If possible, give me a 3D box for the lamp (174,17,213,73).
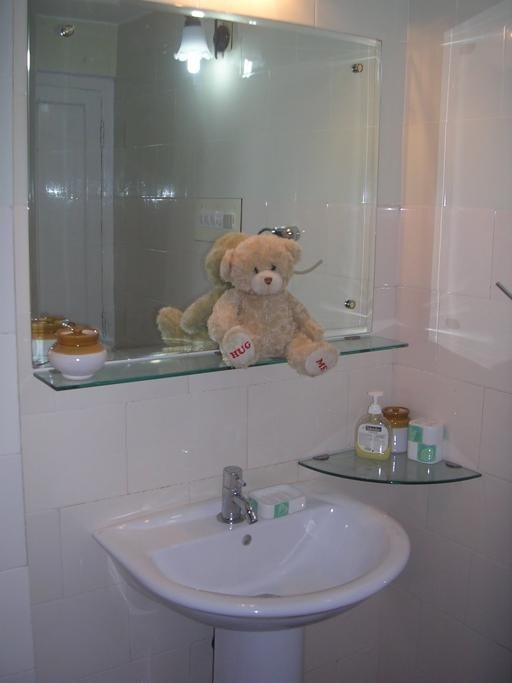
[{"bbox_3d":[-0.116,-0.559,1.016,0.067,0.125,0.070,3,16,10],"label":"lamp"}]

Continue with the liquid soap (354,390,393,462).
[{"bbox_3d":[0.298,0.205,1.328,0.097,0.137,0.106,3,2,-3],"label":"liquid soap"}]

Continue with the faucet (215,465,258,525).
[{"bbox_3d":[-0.042,0.299,1.093,0.063,0.120,0.118,-3,7,-27],"label":"faucet"}]

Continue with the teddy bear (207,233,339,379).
[{"bbox_3d":[0.025,-0.066,1.029,0.220,0.235,0.188,-9,35,-28],"label":"teddy bear"}]

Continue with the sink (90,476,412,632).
[{"bbox_3d":[0.022,0.408,1.008,0.514,0.149,0.449,1,3,-42],"label":"sink"}]
